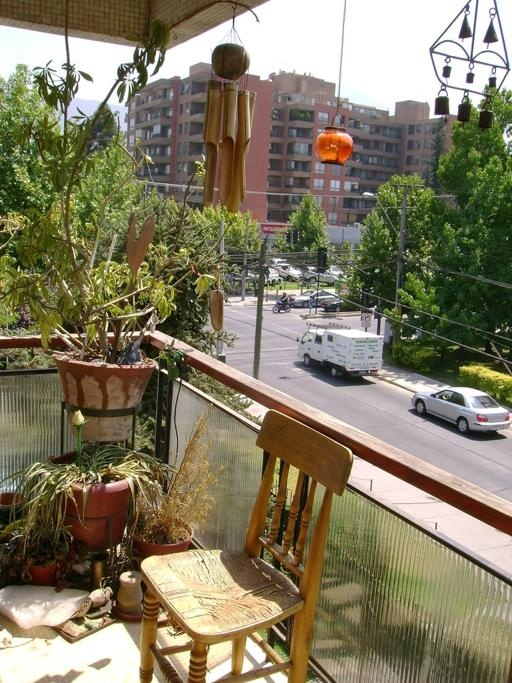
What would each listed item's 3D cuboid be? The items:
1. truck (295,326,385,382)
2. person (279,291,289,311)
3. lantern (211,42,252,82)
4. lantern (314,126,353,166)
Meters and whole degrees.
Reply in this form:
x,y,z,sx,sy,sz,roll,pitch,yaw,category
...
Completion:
x,y,z,sx,sy,sz,roll,pitch,yaw,category
4.126,0.551,25.858,2.254,2.146,4.011,-4,13,-34,truck
2.087,-2.718,37.695,0.789,0.808,1.203,2,1,12,person
-0.084,-0.979,1.796,0.131,0.112,0.133,4,23,14,lantern
0.776,-2.039,5.246,0.449,0.434,0.452,-2,-1,6,lantern
